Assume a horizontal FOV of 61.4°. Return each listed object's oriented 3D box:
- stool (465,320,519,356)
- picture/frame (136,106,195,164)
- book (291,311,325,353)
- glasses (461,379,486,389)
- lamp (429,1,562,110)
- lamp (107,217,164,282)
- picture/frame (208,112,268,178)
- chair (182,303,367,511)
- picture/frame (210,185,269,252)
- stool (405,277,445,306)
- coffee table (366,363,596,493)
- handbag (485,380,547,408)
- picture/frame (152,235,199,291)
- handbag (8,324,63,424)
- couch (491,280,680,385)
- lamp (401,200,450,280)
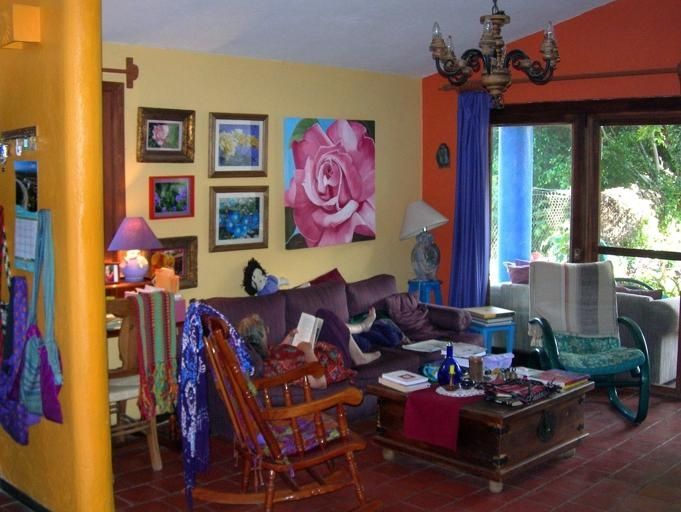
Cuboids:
[{"bbox_3d":[1.554,0.770,5.934,0.433,0.457,0.449,-2,4,-8],"label":"stool"},{"bbox_3d":[-1.511,-1.035,4.868,0.482,0.422,0.037,-4,5,-37],"label":"picture/frame"},{"bbox_3d":[-0.253,0.559,4.311,0.198,0.277,0.097,18,-1,17],"label":"book"},{"bbox_3d":[0.923,0.882,4.026,0.102,0.044,0.079,3,-3,1],"label":"glasses"},{"bbox_3d":[1.161,-1.514,4.063,0.727,0.936,1.742,5,12,20],"label":"lamp"},{"bbox_3d":[-1.623,-0.062,4.701,0.481,0.564,0.486,-3,6,-20],"label":"lamp"},{"bbox_3d":[-0.969,-1.031,5.283,0.603,0.636,0.045,-3,4,-41],"label":"picture/frame"},{"bbox_3d":[-0.429,0.974,3.563,1.114,1.412,0.809,-9,17,-19],"label":"chair"},{"bbox_3d":[-0.971,-0.361,5.340,0.601,0.629,0.042,-1,1,-41],"label":"picture/frame"},{"bbox_3d":[0.961,0.342,6.423,0.328,0.392,0.329,-5,8,-28],"label":"stool"},{"bbox_3d":[1.065,1.202,4.019,1.593,0.610,0.758,-2,11,-12],"label":"coffee table"},{"bbox_3d":[1.201,0.927,3.889,0.270,0.065,0.200,-6,8,-36],"label":"handbag"},{"bbox_3d":[-1.431,0.046,4.911,0.459,0.476,0.046,-2,4,-45],"label":"picture/frame"},{"bbox_3d":[-1.659,0.624,3.183,0.168,0.535,0.392,-4,9,-37],"label":"handbag"},{"bbox_3d":[2.504,0.674,5.825,1.208,1.172,0.998,0,-5,-13],"label":"couch"},{"bbox_3d":[0.903,-0.161,6.318,0.499,0.868,0.261,2,11,8],"label":"lamp"}]
